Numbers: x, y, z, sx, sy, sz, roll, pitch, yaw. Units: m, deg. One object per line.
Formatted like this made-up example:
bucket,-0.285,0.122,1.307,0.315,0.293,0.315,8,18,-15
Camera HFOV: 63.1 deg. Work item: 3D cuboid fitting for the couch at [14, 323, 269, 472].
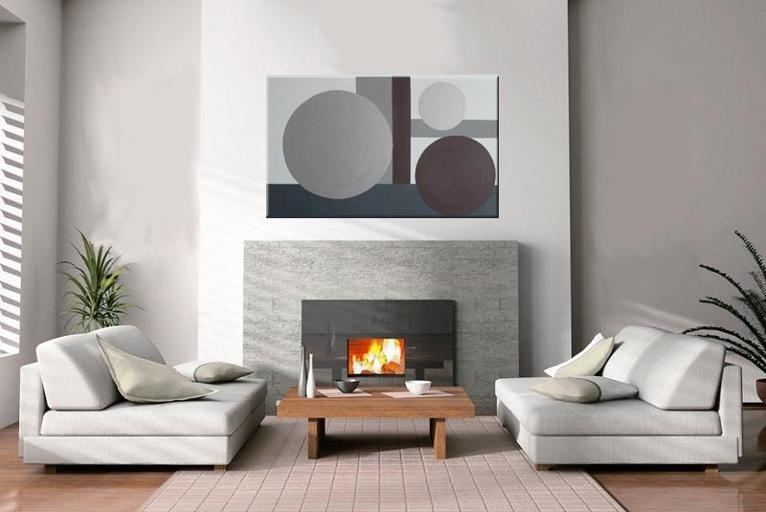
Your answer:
couch,-2.302,1.408,6.665,1.934,1.084,2.744,2,-6,-8
